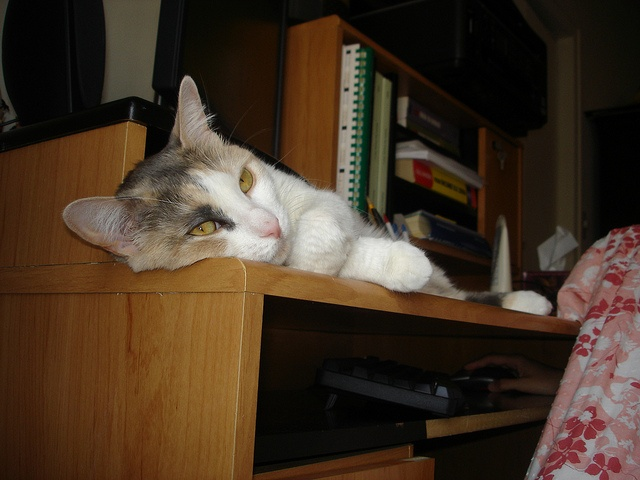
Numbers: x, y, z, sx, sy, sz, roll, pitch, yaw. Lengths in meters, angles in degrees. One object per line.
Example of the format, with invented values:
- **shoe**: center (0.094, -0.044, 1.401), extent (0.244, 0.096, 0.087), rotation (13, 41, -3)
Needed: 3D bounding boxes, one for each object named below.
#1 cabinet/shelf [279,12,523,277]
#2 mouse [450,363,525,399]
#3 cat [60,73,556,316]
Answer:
- **cabinet/shelf**: center (0.337, -0.158, 1.886), extent (0.188, 0.635, 1.096), rotation (0, -10, 43)
- **mouse**: center (0.433, 0.359, 1.500), extent (0.185, 0.055, 0.119), rotation (-10, 1, -9)
- **cat**: center (-0.056, 0.006, 1.004), extent (0.633, 0.262, 0.341), rotation (15, 6, -10)
